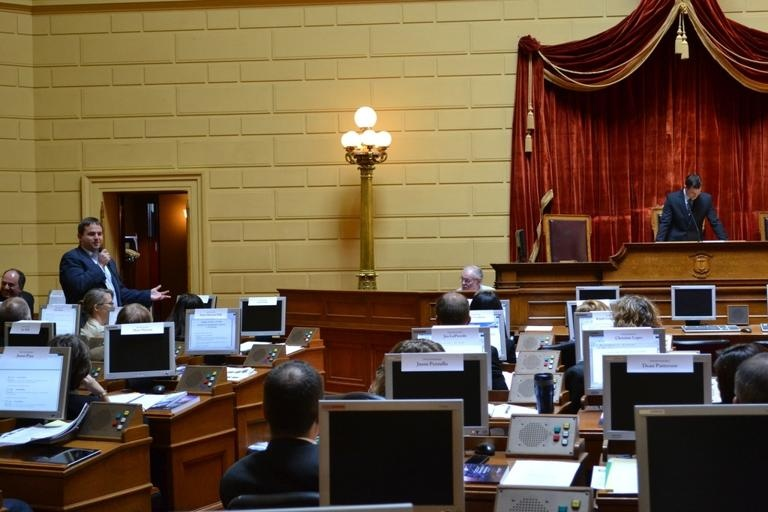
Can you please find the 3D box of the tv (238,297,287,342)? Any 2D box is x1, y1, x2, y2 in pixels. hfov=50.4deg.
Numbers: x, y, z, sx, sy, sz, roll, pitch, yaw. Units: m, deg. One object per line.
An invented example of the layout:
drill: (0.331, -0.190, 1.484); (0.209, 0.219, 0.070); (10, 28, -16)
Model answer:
tv: (-1.312, 0.680, 8.707); (0.446, 0.461, 0.150); (-1, -3, 1)

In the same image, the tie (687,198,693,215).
tie: (3.733, -0.614, 9.910); (0.058, 0.227, 0.031); (4, -12, -6)

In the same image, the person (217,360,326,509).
person: (-0.640, 1.038, 4.696); (0.590, 0.836, 0.349); (-1, 0, -8)

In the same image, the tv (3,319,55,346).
tv: (-2.911, 0.642, 6.717); (0.387, 0.347, 0.215); (2, 0, -9)

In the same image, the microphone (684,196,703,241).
microphone: (3.780, -0.439, 9.808); (0.285, 0.474, 0.167); (0, -15, -3)

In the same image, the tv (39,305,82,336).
tv: (-2.894, 0.587, 7.295); (0.230, 0.233, 0.122); (2, 5, -2)

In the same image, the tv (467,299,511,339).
tv: (1.078, 0.582, 7.833); (0.582, 0.346, 0.611); (2, 5, 11)

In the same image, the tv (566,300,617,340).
tv: (1.793, 0.532, 7.349); (0.643, 0.379, 0.665); (-1, 1, 7)

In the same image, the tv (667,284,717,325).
tv: (3.267, 0.521, 8.586); (0.389, 0.377, 0.132); (-1, -6, 10)

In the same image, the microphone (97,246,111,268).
microphone: (-2.863, 0.015, 8.300); (0.139, 0.147, 0.252); (5, -47, -16)
